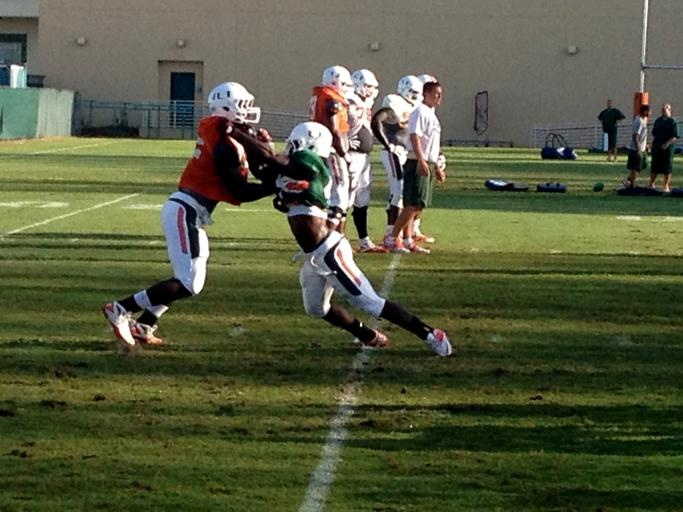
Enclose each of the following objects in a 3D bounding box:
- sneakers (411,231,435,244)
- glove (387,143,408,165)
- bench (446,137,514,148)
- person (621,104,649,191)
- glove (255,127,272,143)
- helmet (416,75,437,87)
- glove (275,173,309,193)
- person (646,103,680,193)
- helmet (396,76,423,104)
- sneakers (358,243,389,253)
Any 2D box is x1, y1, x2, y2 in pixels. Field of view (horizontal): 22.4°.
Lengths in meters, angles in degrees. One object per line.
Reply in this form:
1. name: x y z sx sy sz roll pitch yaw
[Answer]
1. sneakers: 1.720 -0.422 37.581 0.605 0.235 0.197 2 15 7
2. glove: 1.252 -2.215 36.727 0.482 0.284 0.173 35 -22 -17
3. bench: 5.096 -4.233 63.567 2.512 0.289 0.714 1 5 -1
4. person: 7.433 -2.809 43.494 0.518 2.099 0.760 2 5 10
5. glove: -1.497 -2.272 32.802 0.309 0.110 0.299 -13 39 -41
6. helmet: 1.903 -3.903 37.517 0.488 0.262 0.698 -1 2 -2
7. glove: -0.917 -1.371 32.302 0.520 0.276 0.258 11 -13 13
8. person: 8.056 -2.734 43.199 0.600 2.187 0.902 2 5 8
9. helmet: 1.505 -3.635 37.186 0.669 0.513 0.471 6 18 9
10. sneakers: 0.660 -0.184 36.781 0.560 0.216 0.195 -1 4 6
